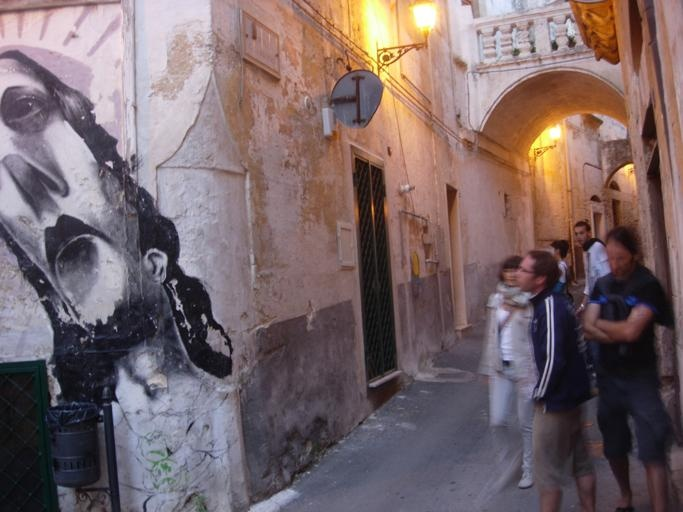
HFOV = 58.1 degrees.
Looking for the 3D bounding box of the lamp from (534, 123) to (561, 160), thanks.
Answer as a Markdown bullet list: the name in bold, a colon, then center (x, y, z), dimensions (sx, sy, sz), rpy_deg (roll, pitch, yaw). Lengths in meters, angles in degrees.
- **lamp**: center (6.687, -3.696, 20.033), dimensions (0.872, 0.976, 2.498), rpy_deg (-1, 5, 20)
